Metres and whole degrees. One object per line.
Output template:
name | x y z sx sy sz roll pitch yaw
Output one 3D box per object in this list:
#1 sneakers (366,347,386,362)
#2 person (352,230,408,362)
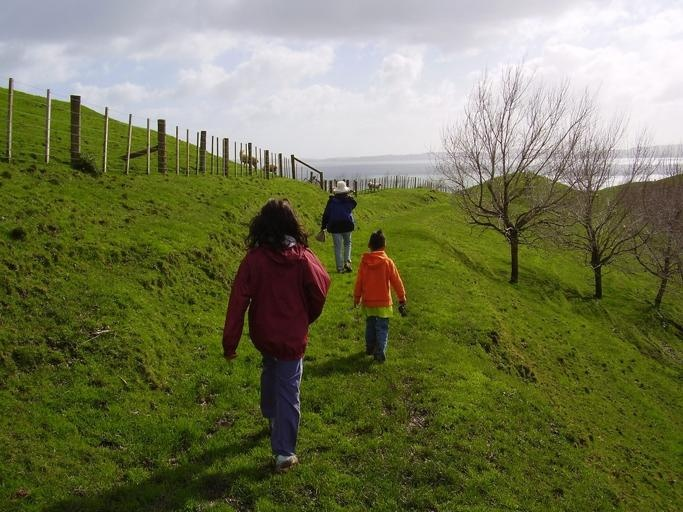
sneakers | 0.942 2.640 14.747 0.222 0.306 0.643 -3 4 -44
person | 0.978 1.060 14.401 1.200 3.467 0.590 1 8 5
